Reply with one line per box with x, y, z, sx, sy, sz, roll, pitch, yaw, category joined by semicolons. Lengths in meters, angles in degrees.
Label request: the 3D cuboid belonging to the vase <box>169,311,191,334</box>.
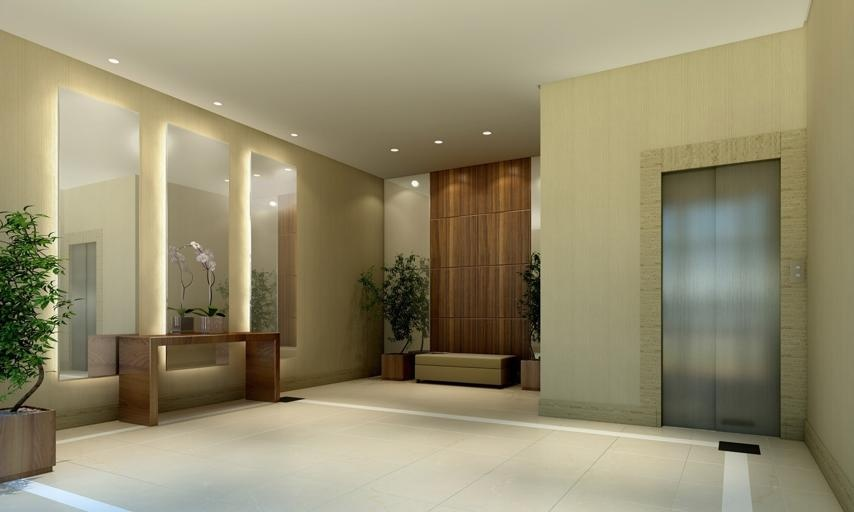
-3.673;0.993;7.817;0.310;0.288;0.318;-1;-3;40;vase

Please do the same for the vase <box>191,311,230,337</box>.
-3.371;1.052;8.203;0.311;0.357;0.572;-4;-6;26;vase

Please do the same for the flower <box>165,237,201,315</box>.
-3.707;0.319;8.026;0.301;1.091;0.463;0;3;8;flower

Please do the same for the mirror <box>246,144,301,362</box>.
-2.716;-0.054;9.296;0.367;3.445;1.145;2;4;28;mirror

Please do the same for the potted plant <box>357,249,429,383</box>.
-0.666;0.994;11.284;1.419;2.119;0.699;0;3;1;potted plant
